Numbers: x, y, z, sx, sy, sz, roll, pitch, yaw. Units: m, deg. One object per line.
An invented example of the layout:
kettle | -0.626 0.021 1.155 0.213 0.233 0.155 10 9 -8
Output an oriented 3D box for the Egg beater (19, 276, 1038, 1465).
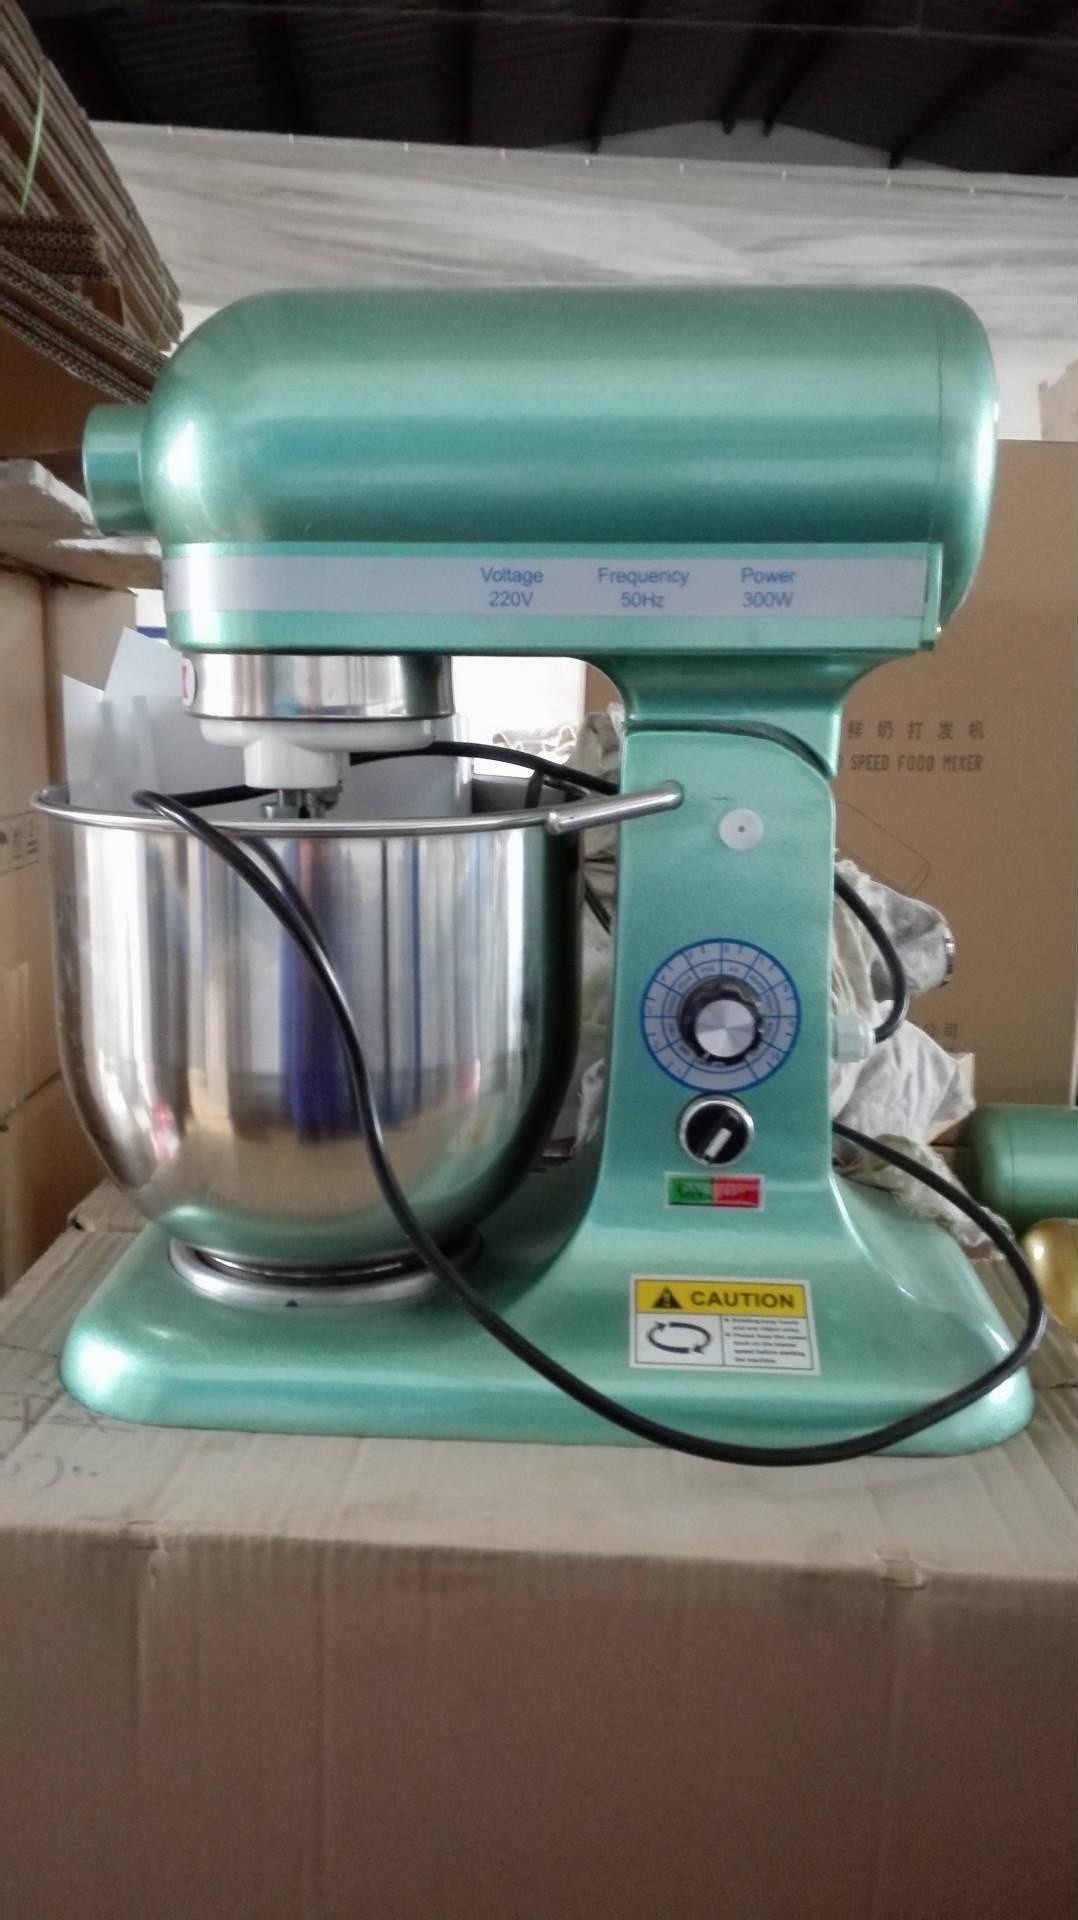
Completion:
Egg beater | 0.004 -0.049 0.655 0.430 0.434 0.254 1 11 1
